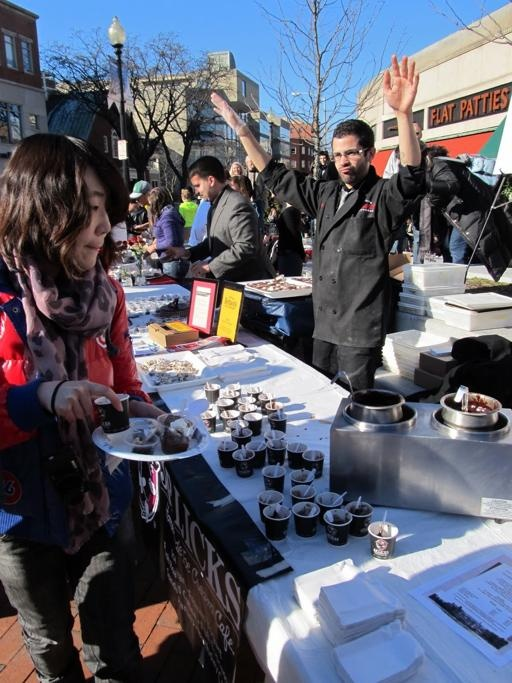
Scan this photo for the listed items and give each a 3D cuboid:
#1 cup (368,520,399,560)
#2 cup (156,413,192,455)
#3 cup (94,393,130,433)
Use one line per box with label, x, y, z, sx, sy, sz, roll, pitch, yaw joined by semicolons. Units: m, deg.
cup;0.273;0.423;1.042;0.068;0.054;0.071;0;9;0
cup;-0.211;0.227;1.192;0.069;0.061;0.075;1;8;0
cup;-0.344;0.173;1.210;0.088;0.072;0.093;-3;7;0
